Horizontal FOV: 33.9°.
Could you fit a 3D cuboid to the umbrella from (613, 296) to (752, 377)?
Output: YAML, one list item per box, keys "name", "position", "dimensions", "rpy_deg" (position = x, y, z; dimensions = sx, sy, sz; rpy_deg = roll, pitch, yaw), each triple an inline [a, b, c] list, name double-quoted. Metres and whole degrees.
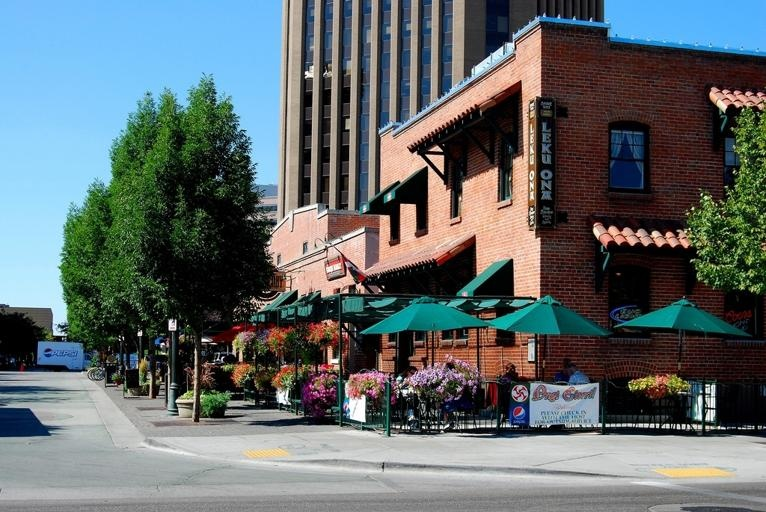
- name: "umbrella"
  position: [9.215, 2.402, 39.261]
  dimensions: [3.727, 2.210, 3.002]
  rpy_deg: [10, -15, -37]

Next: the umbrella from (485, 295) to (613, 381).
- name: "umbrella"
  position: [5.032, 1.763, 38.489]
  dimensions: [3.284, 1.292, 1.129]
  rpy_deg: [0, -11, 5]

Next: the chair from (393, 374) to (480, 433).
- name: "chair"
  position: [1.672, 4.241, 38.389]
  dimensions: [2.409, 2.034, 1.398]
  rpy_deg: [0, -11, 4]
